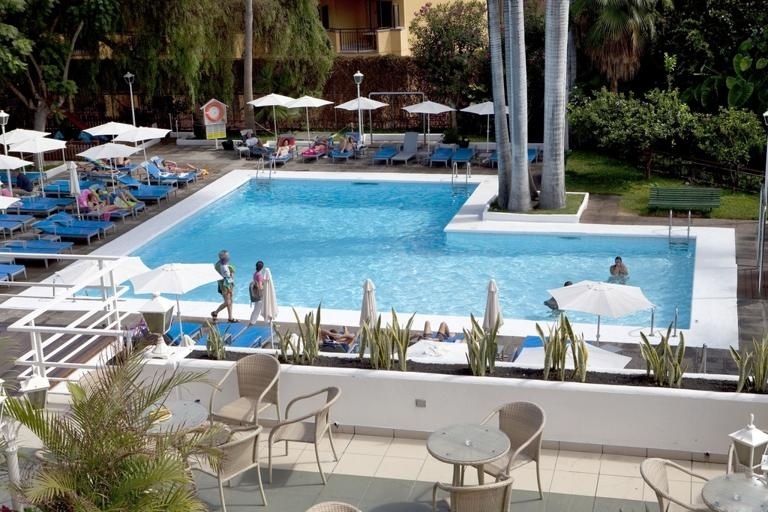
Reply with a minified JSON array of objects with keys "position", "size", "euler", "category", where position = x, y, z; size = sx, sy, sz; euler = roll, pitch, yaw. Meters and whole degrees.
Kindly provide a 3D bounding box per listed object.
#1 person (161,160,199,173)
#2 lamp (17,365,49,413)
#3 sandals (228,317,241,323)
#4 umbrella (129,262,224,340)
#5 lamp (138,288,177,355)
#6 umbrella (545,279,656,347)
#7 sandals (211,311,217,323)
[{"position":[-8.031,-3.512,27.733],"size":[1.217,0.432,0.961],"euler":[-2,16,-4],"category":"person"},{"position":[-4.689,1.800,9.451],"size":[0.369,0.554,0.343],"euler":[-8,8,-38],"category":"lamp"},{"position":[-3.189,1.376,15.044],"size":[0.212,0.091,0.114],"euler":[-2,9,4],"category":"sandals"},{"position":[-3.821,0.877,13.169],"size":[1.335,1.252,1.380],"euler":[-2,24,0],"category":"umbrella"},{"position":[-3.745,1.113,11.757],"size":[0.506,1.039,1.521],"euler":[-6,14,-19],"category":"lamp"},{"position":[3.835,1.028,12.515],"size":[1.617,1.252,1.641],"euler":[-1,18,-3],"category":"umbrella"},{"position":[-3.685,1.327,15.324],"size":[0.105,0.308,0.111],"euler":[-5,-26,-20],"category":"sandals"}]
